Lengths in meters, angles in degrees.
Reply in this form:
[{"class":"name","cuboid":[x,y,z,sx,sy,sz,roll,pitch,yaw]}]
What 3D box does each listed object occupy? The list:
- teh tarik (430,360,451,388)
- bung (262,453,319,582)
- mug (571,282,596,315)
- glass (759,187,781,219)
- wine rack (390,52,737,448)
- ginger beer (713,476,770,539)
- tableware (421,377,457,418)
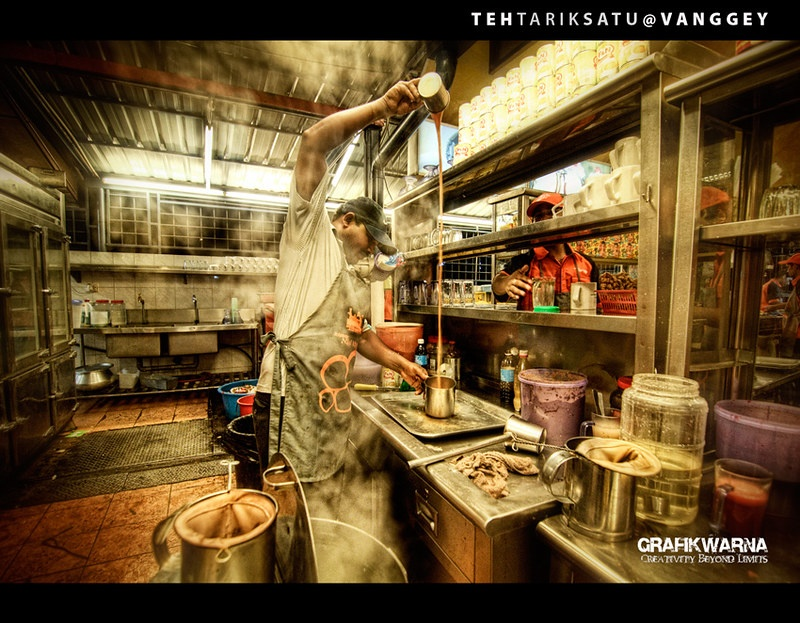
[{"class":"teh tarik","cuboid":[0.305,0.394,3.639,0.140,0.153,0.081,-1,0,29]},{"class":"bung","cuboid":[-0.397,0.774,2.023,0.075,0.378,0.363,-2,28,-16]},{"class":"mug","cuboid":[0.916,-0.059,2.769,0.171,0.151,0.106,-2,4,-35]},{"class":"glass","cuboid":[1.642,-0.478,2.467,0.089,0.076,0.117,11,-11,-30]},{"class":"wine rack","cuboid":[0.868,-0.296,2.964,0.488,1.667,2.591,0,0,-27]},{"class":"ginger beer","cuboid":[1.339,0.781,2.189,0.177,0.224,0.089,7,11,31]},{"class":"tableware","cuboid":[0.221,0.478,3.030,0.162,0.169,0.219,1,-2,1]}]
